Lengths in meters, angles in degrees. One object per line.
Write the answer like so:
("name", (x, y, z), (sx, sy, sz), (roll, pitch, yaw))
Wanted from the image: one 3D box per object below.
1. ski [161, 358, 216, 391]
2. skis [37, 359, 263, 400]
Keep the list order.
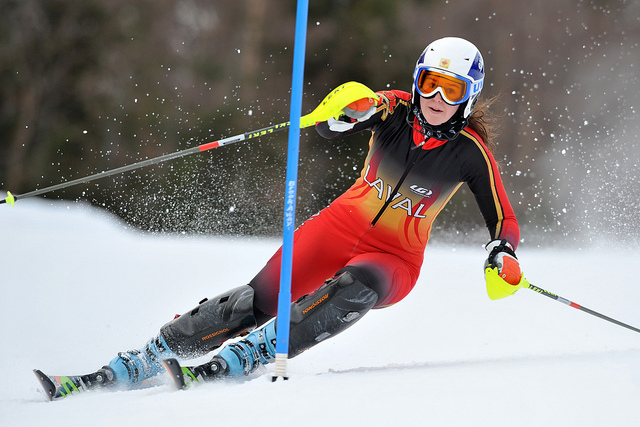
("ski", (-1.195, 1.457, 6.714), (0.433, 0.233, 0.277), (0, 80, 3))
("skis", (-1.491, 1.531, 6.798), (1.077, 0.271, 0.274), (-5, 82, -4))
